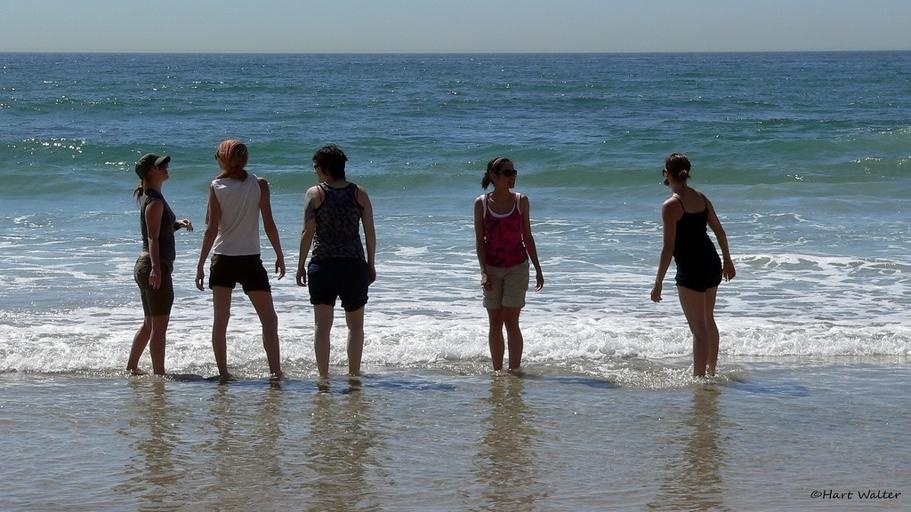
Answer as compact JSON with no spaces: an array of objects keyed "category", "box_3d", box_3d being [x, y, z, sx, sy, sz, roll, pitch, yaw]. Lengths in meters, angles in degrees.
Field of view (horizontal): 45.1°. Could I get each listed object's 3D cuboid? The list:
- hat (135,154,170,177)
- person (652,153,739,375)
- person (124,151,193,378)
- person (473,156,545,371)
[{"category":"hat","box_3d":[-4.346,-1.305,15.701,0.433,0.324,0.403,-4,11,-15]},{"category":"person","box_3d":[3.401,0.146,15.873,1.244,3.248,0.562,-4,13,-6]},{"category":"person","box_3d":[-4.352,0.125,15.833,0.976,3.199,0.625,-5,13,-13]},{"category":"person","box_3d":[0.755,0.133,15.995,0.878,3.152,0.423,-2,13,1]}]
